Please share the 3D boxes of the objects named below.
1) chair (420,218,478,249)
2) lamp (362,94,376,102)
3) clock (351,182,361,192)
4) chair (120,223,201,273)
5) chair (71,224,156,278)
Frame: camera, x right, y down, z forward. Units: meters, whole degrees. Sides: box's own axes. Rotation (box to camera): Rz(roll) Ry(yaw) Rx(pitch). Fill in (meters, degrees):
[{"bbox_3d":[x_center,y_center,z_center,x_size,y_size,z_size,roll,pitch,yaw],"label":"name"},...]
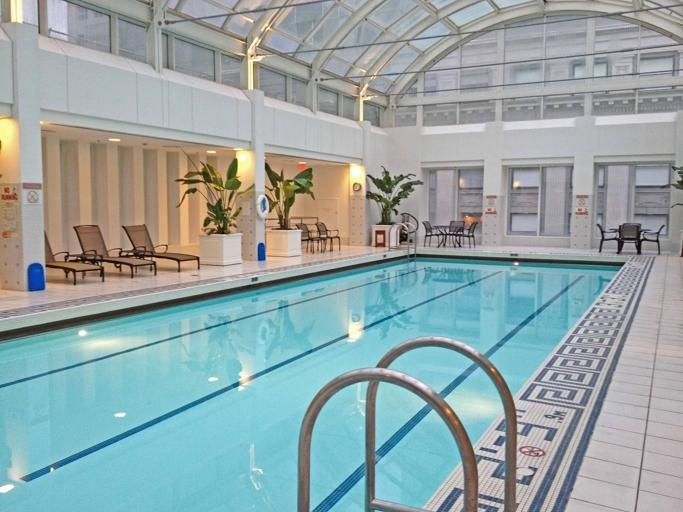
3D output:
[{"bbox_3d":[3.877,-0.808,17.907,1.702,0.882,2.878,-1,7,12],"label":"chair"},{"bbox_3d":[0.971,-5.683,18.013,0.404,0.224,0.867,-1,7,10],"label":"lamp"},{"bbox_3d":[0.499,-2.356,17.147,0.234,0.320,0.125,0,1,34],"label":"clock"},{"bbox_3d":[-4.093,-0.183,11.125,1.652,0.869,0.656,5,6,22],"label":"chair"},{"bbox_3d":[-4.735,-0.091,10.251,1.656,0.980,0.781,6,8,23],"label":"chair"}]
